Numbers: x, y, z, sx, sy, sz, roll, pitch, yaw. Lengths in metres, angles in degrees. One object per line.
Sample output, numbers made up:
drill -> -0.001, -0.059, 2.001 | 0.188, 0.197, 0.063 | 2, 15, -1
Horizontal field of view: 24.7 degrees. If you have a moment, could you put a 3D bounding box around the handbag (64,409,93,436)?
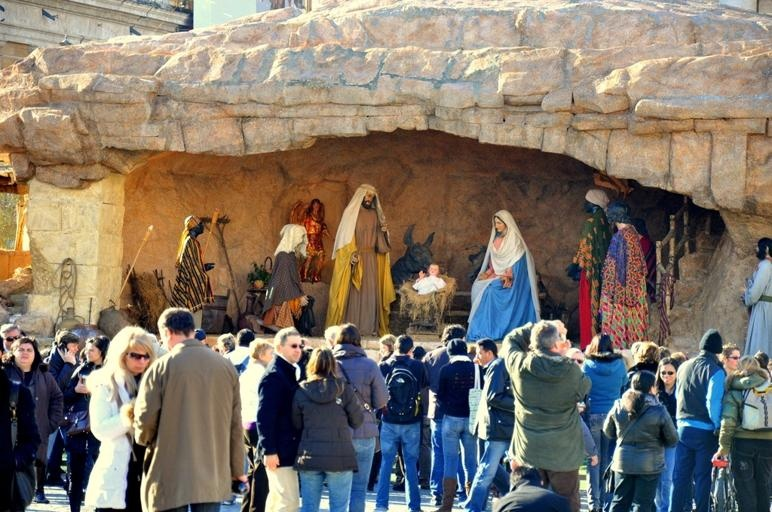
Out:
handbag -> -3.916, 2.091, 22.215 | 0.425, 0.367, 0.150 | -7, -14, 12

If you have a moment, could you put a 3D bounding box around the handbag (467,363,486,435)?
handbag -> 1.131, 1.815, 22.534 | 0.165, 0.886, 0.237 | 1, -8, 1

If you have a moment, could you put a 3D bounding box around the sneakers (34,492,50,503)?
sneakers -> -4.550, 3.148, 23.032 | 0.193, 0.134, 0.198 | 3, -8, -19

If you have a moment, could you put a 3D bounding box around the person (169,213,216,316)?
person -> -3.092, 0.158, 27.789 | 0.638, 1.642, 1.328 | 2, -8, -7

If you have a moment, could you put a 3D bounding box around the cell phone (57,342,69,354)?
cell phone -> -4.254, 1.204, 23.047 | 0.192, 0.167, 0.102 | -2, 8, 8

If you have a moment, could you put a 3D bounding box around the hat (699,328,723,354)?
hat -> 4.163, 1.087, 22.651 | 0.281, 0.287, 0.316 | 7, 9, 26
